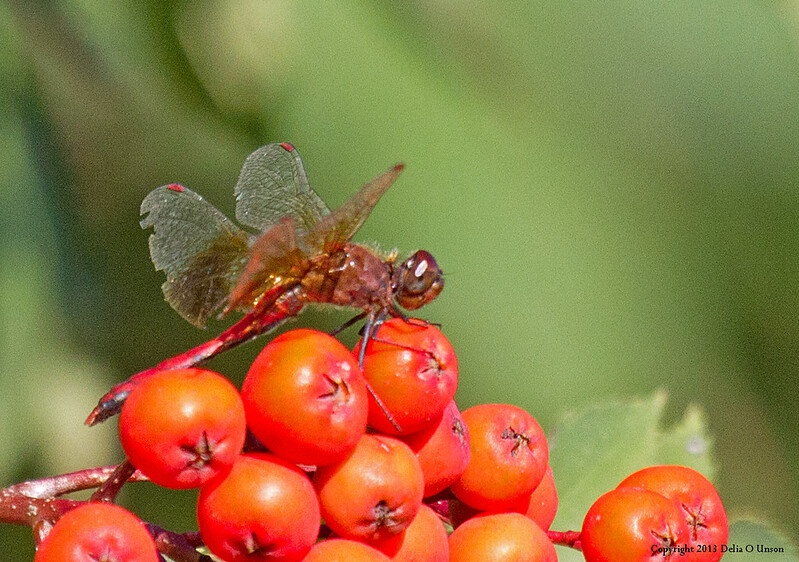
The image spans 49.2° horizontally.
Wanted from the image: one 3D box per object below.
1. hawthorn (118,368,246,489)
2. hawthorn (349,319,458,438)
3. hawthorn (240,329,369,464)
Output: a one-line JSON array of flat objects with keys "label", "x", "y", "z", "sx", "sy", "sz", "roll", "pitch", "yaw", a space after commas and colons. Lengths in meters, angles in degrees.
[{"label": "hawthorn", "x": -0.377, "y": 0.279, "z": 1.569, "sx": 0.194, "sy": 0.224, "sz": 0.184, "roll": 10, "pitch": -16, "yaw": -39}, {"label": "hawthorn", "x": 0.015, "y": 0.177, "z": 1.697, "sx": 0.159, "sy": 0.231, "sz": 0.186, "roll": 8, "pitch": 12, "yaw": 11}, {"label": "hawthorn", "x": -0.167, "y": 0.178, "z": 1.622, "sx": 0.205, "sy": 0.234, "sz": 0.328, "roll": -12, "pitch": 15, "yaw": -22}]
